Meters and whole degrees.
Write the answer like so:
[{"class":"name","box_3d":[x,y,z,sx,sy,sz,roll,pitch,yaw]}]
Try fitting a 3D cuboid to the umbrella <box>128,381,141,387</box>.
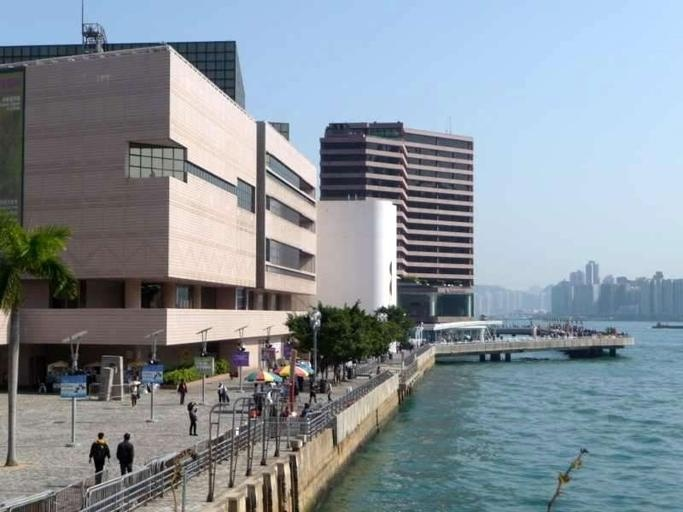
[{"class":"umbrella","box_3d":[-16.396,10.125,76.385,0.839,0.359,0.717,-1,-6,12]}]
